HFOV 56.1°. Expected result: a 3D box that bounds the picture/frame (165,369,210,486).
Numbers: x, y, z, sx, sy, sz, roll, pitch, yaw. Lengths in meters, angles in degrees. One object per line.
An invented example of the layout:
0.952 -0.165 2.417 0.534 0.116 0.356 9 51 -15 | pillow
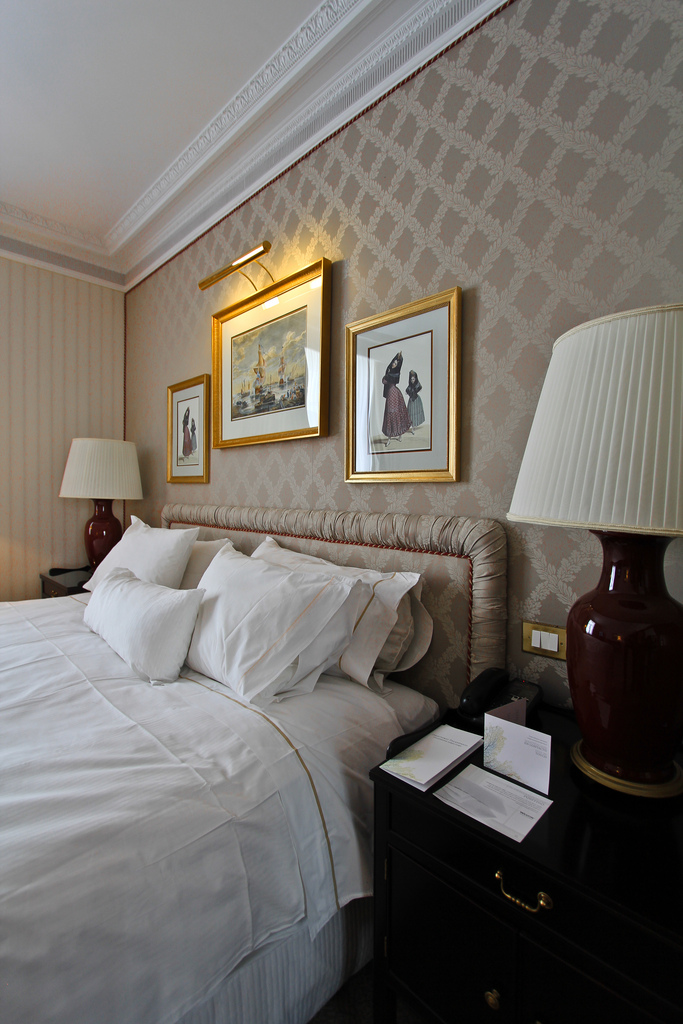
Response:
-0.770 -0.417 3.212 0.044 0.724 0.545 0 -1 -33 | picture/frame

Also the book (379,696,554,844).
0.258 0.472 1.124 0.152 0.101 0.207 0 4 -42 | book

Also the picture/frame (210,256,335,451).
-0.256 -0.614 2.500 0.058 0.666 0.796 1 -2 -32 | picture/frame

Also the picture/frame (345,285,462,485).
0.200 -0.375 1.907 0.038 0.649 0.566 1 -2 -31 | picture/frame
